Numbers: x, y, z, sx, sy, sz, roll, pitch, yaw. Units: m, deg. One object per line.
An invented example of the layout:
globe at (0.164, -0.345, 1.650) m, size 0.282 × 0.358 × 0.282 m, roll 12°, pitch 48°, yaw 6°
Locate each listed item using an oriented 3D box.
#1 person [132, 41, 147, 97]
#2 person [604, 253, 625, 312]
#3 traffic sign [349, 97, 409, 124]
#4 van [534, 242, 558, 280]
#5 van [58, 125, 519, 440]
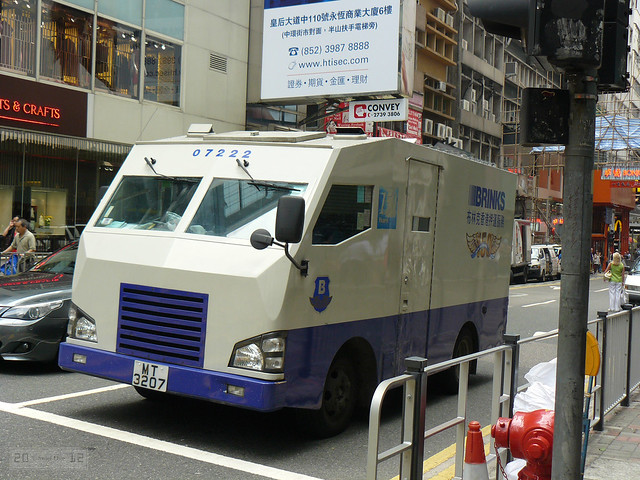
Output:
person at (-5.341, -5.096, 20.702) m, size 0.216 × 1.895 × 0.409 m, roll 1°, pitch 3°, yaw 4°
person at (8.474, 1.196, 20.131) m, size 0.512 × 1.768 × 1.743 m, roll 2°, pitch 4°, yaw 24°
traffic sign at (1.508, -3.390, 18.184) m, size 1.678 × 0.652 × 0.545 m, roll 4°, pitch 4°, yaw 28°
van at (12.655, 1.227, 40.023) m, size 1.242 × 1.655 × 2.651 m, roll -3°, pitch -5°, yaw 27°
van at (-0.281, 0.559, 7.717) m, size 1.872 × 2.104 × 3.385 m, roll 1°, pitch 2°, yaw 39°
